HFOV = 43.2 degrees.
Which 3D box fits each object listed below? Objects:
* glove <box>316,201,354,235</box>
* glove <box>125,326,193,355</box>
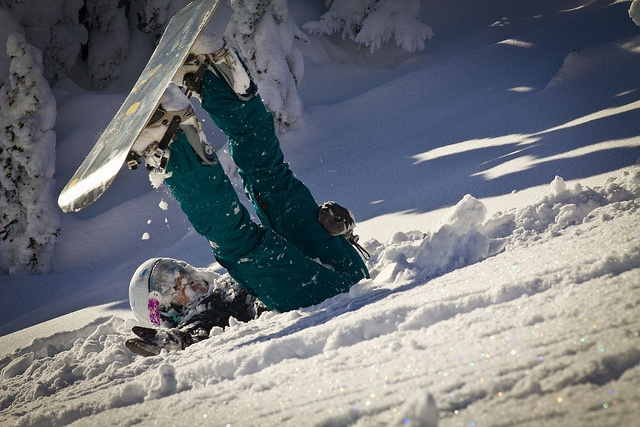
[{"bbox_3d":[0.216,0.084,12.070,0.410,0.531,0.216,-37,-9,-29],"label":"glove"},{"bbox_3d":[-2.313,1.808,11.472,0.721,0.314,0.443,-3,42,-13],"label":"glove"}]
